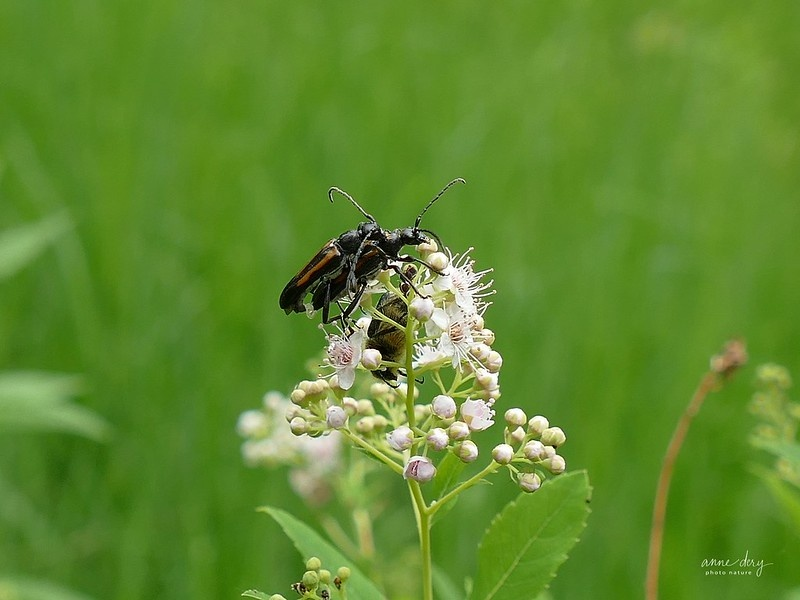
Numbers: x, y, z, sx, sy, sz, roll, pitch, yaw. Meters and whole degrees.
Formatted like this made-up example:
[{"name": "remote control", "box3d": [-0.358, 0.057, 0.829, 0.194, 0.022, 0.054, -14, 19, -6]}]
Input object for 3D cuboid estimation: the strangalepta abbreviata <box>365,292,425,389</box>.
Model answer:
[{"name": "strangalepta abbreviata", "box3d": [-0.048, 0.223, 4.939, 0.377, 0.420, 0.120, 9, 4, 39]}]
